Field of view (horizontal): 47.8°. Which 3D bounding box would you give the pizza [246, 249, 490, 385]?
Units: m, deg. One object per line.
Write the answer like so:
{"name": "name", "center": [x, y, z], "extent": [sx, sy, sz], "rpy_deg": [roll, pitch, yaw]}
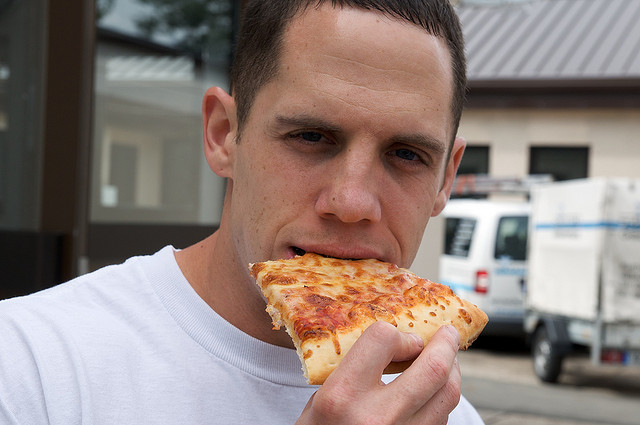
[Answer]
{"name": "pizza", "center": [0.165, 0.490, 3.951], "extent": [0.869, 0.223, 0.854], "rpy_deg": [16, 15, -25]}

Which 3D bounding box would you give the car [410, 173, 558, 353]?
{"name": "car", "center": [2.626, 1.157, 15.291], "extent": [2.521, 2.679, 4.754], "rpy_deg": [3, 2, -31]}
